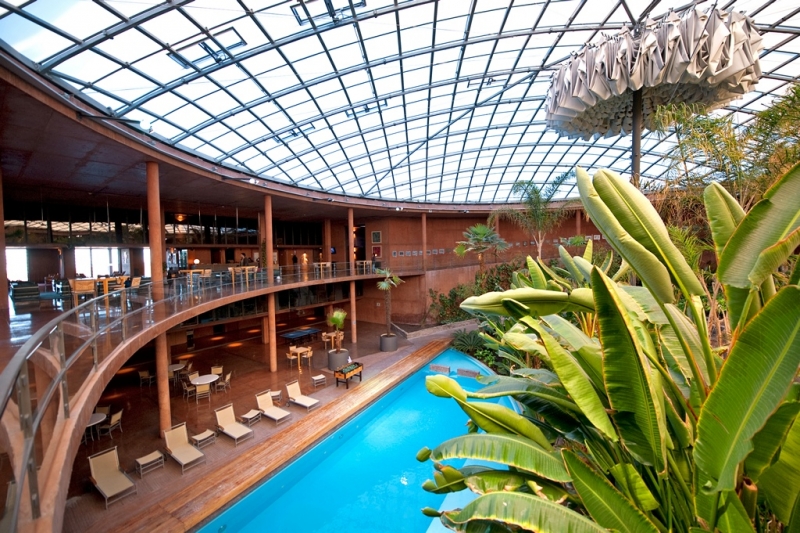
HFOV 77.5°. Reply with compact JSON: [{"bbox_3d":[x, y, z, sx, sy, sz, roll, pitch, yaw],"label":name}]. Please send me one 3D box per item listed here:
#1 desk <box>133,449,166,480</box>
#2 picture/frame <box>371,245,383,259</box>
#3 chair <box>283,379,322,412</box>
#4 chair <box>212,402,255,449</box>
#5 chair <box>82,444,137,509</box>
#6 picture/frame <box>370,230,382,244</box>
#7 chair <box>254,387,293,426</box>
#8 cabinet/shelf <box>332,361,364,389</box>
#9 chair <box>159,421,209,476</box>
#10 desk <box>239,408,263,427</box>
[{"bbox_3d":[-8.857,6.965,17.658,0.537,0.495,0.950,7,12,39],"label":"desk"},{"bbox_3d":[-1.735,-1.083,37.833,1.080,1.140,0.099,-1,-1,42],"label":"picture/frame"},{"bbox_3d":[-4.300,5.741,22.010,1.404,0.756,0.943,7,10,38],"label":"chair"},{"bbox_3d":[-6.526,6.254,19.598,1.540,0.934,1.044,18,16,35],"label":"chair"},{"bbox_3d":[-9.704,7.153,16.932,1.937,1.197,1.223,31,30,34],"label":"chair"},{"bbox_3d":[-1.807,-2.236,37.913,1.194,1.258,0.097,-1,0,42],"label":"picture/frame"},{"bbox_3d":[-5.254,5.866,20.822,1.394,0.881,0.990,16,17,37],"label":"chair"},{"bbox_3d":[-2.521,4.935,24.352,0.933,1.196,1.893,1,3,31],"label":"cabinet/shelf"},{"bbox_3d":[-7.879,6.594,18.258,1.713,1.049,1.111,20,21,36],"label":"chair"},{"bbox_3d":[-6.195,6.185,20.401,0.559,0.365,0.746,2,7,23],"label":"desk"}]
